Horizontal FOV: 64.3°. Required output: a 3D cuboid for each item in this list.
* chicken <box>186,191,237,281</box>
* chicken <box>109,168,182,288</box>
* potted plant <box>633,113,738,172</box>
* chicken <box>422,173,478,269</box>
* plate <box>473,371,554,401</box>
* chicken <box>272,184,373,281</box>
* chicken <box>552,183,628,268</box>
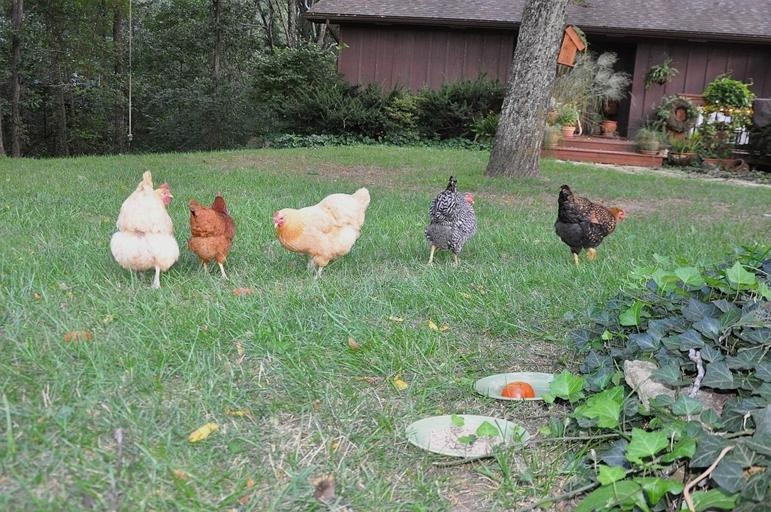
[{"bbox_3d":[-1.636,-0.188,5.808,0.405,0.739,0.386,1,10,-17],"label":"chicken"},{"bbox_3d":[-2.446,-0.197,5.736,0.658,1.048,1.539,2,-3,-15],"label":"chicken"},{"bbox_3d":[7.937,-3.228,16.480,2.744,1.614,2.338,-5,13,-42],"label":"potted plant"},{"bbox_3d":[0.641,-0.351,6.615,0.585,0.912,1.157,10,6,15],"label":"chicken"},{"bbox_3d":[0.862,0.875,4.161,0.498,0.142,0.621,2,2,8],"label":"plate"},{"bbox_3d":[-0.587,-0.272,6.228,1.126,0.860,0.583,-5,3,-12],"label":"chicken"},{"bbox_3d":[2.059,-0.301,6.518,1.100,0.881,0.532,11,0,-41],"label":"chicken"}]
